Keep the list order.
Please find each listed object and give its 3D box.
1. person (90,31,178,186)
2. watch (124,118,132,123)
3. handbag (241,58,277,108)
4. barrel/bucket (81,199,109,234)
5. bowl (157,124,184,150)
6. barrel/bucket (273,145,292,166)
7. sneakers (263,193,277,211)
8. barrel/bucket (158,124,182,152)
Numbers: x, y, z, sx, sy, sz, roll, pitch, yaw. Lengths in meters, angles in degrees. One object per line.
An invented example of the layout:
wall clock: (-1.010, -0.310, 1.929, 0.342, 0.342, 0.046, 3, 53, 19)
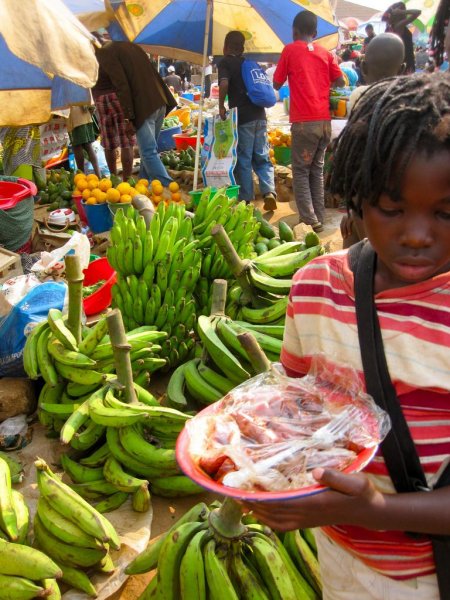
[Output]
person: (-1.166, -2.667, 6.099, 0.806, 2.151, 0.916, -22, 32, -13)
watch: (-1.284, -2.372, 5.729, 0.091, 0.051, 0.047, -2, 24, -8)
handbag: (0.441, -2.881, 5.826, 0.231, 0.626, 0.458, -20, -10, 38)
barrel/bucket: (-1.577, -1.040, 5.460, 0.368, 0.297, 0.345, 1, 41, -1)
bowl: (-1.190, -3.374, 9.082, 0.677, 0.274, 0.491, -22, 48, -10)
barrel/bucket: (1.109, -2.803, 8.433, 0.433, 0.301, 0.408, -2, 39, 2)
sneakers: (0.705, -1.510, 6.806, 0.168, 0.300, 0.124, -3, 55, 8)
barrel/bucket: (-1.217, -3.372, 9.056, 0.735, 0.290, 0.524, -10, 45, -2)
